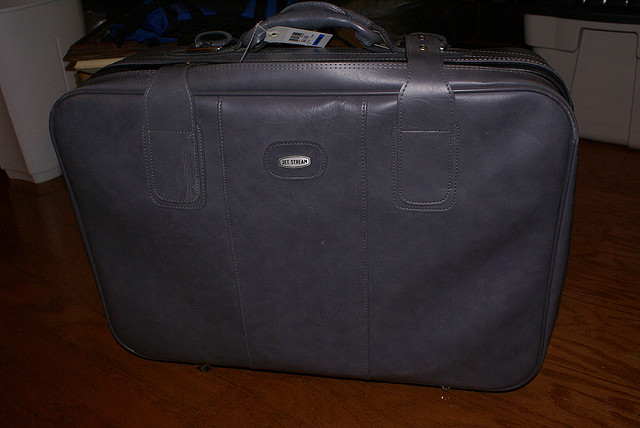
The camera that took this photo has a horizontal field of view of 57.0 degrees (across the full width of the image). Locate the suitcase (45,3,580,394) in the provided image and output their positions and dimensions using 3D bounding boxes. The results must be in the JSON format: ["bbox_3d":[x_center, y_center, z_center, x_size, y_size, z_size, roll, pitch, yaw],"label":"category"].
[{"bbox_3d":[-0.027,0.009,1.197,0.884,0.704,0.352,5,28,7],"label":"suitcase"}]
